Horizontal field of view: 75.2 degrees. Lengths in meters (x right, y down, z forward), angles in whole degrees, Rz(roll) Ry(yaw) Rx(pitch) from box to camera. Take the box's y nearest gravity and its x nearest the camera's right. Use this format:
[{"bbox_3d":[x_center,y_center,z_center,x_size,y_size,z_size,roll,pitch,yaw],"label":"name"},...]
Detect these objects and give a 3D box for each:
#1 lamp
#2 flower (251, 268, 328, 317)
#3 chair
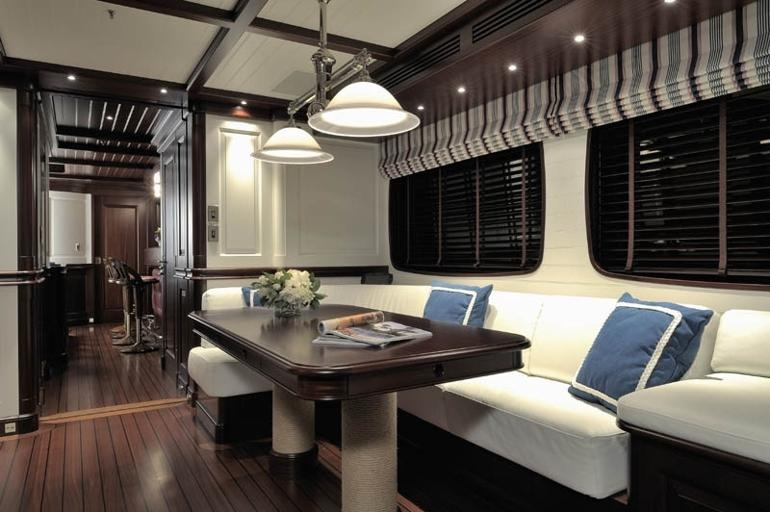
[{"bbox_3d":[-0.448,-1.470,4.090,0.531,0.766,1.180,0,-2,-35],"label":"lamp"},{"bbox_3d":[-0.776,0.279,3.935,0.422,0.297,0.422,1,-5,35],"label":"flower"},{"bbox_3d":[-4.290,0.832,8.423,0.581,0.974,1.482,-1,1,-27],"label":"chair"}]
